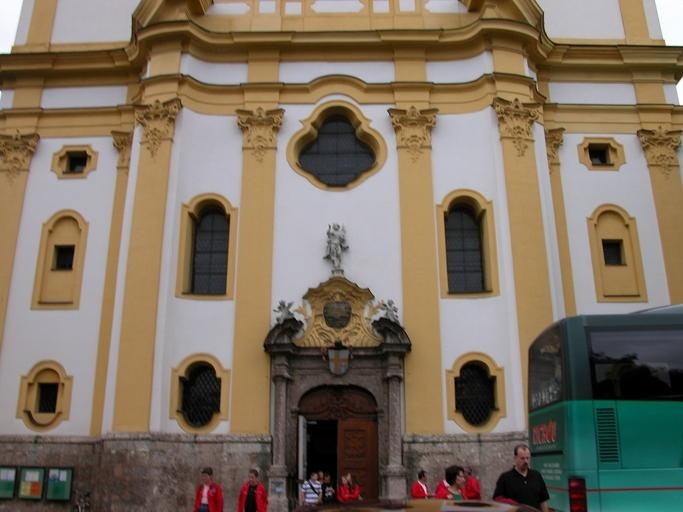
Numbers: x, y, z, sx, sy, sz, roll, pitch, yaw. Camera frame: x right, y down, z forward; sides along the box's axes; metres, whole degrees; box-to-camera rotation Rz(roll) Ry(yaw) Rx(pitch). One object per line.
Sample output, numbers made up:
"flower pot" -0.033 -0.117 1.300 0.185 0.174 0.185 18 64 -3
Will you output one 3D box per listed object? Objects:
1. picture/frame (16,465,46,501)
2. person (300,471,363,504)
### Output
"picture/frame" -8.848 6.536 18.294 0.779 1.202 0.143 0 -25 -7
"person" -0.231 5.835 16.105 1.233 0.785 2.169 -5 -24 10
